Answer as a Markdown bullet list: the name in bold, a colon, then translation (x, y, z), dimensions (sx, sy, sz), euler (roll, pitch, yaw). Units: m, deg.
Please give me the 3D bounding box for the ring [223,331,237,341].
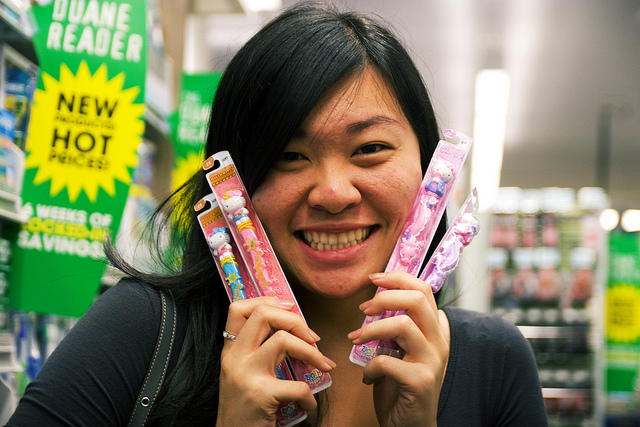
- **ring**: translation (-0.382, 0.522, 2.387), dimensions (0.073, 0.038, 0.019), euler (-1, -3, 29)
